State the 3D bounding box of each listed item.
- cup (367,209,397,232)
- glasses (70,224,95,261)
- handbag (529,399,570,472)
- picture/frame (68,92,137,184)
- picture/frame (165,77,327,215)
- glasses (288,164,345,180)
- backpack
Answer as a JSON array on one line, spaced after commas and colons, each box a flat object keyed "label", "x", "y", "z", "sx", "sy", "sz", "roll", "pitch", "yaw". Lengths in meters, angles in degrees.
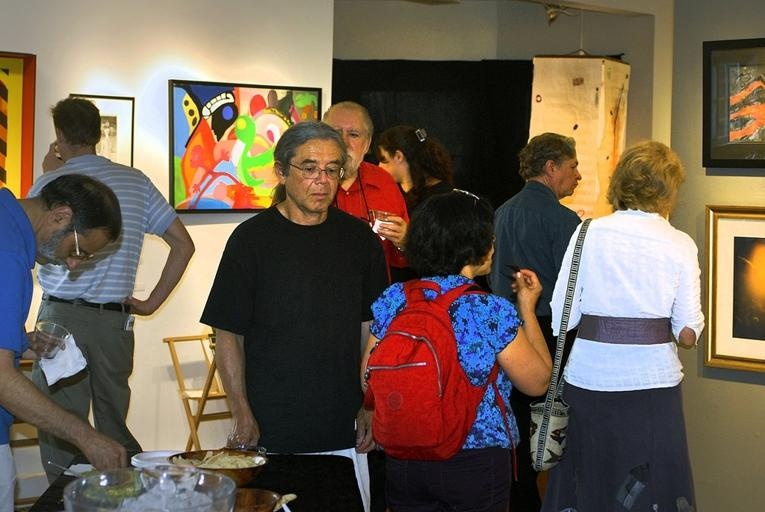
[{"label": "cup", "x": -0.001, "y": -0.191, "z": 3.243, "sx": 0.131, "sy": 0.095, "sz": 0.115, "roll": -5, "pitch": 7, "yaw": -43}, {"label": "glasses", "x": -1.252, "y": -0.053, "z": 2.587, "sx": 0.030, "sy": 0.108, "sz": 0.102, "roll": -4, "pitch": -8, "yaw": 29}, {"label": "handbag", "x": 0.873, "y": 0.917, "z": 3.229, "sx": 0.216, "sy": 0.364, "sz": 0.133, "roll": -1, "pitch": 9, "yaw": -1}, {"label": "picture/frame", "x": -2.051, "y": -0.870, "z": 4.507, "sx": 0.434, "sy": 0.584, "sz": 0.016, "roll": -6, "pitch": 39, "yaw": -34}, {"label": "picture/frame", "x": -1.049, "y": -0.858, "z": 4.898, "sx": 1.240, "sy": 0.961, "sz": 0.019, "roll": -6, "pitch": 14, "yaw": -34}, {"label": "glasses", "x": -0.294, "y": -0.374, "z": 2.749, "sx": 0.234, "sy": 0.067, "sz": 0.097, "roll": -2, "pitch": 10, "yaw": -7}, {"label": "backpack", "x": 0.221, "y": 0.476, "z": 2.532, "sx": 0.560, "sy": 0.710, "sz": 0.287, "roll": 0, "pitch": 9, "yaw": 9}]
